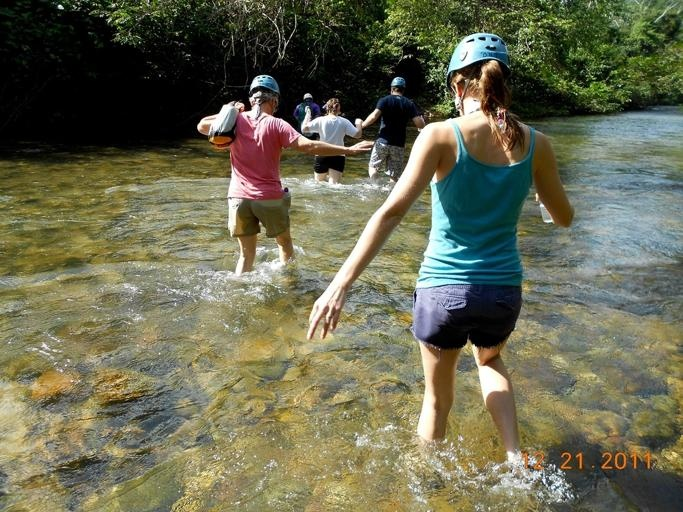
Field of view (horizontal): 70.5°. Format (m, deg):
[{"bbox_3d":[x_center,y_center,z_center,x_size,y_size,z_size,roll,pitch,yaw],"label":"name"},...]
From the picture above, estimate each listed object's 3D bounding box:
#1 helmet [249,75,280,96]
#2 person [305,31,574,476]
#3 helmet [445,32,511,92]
[{"bbox_3d":[-0.848,-1.884,5.298,0.304,0.210,0.309,-3,17,-10],"label":"helmet"},{"bbox_3d":[0.666,0.081,2.854,1.531,2.641,0.519,-8,19,-26],"label":"person"},{"bbox_3d":[0.862,-1.143,2.871,0.284,0.319,0.361,7,4,-5],"label":"helmet"}]
